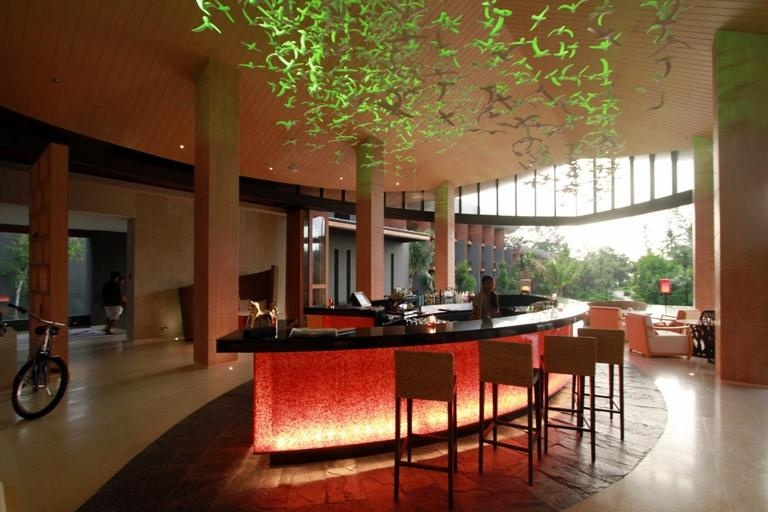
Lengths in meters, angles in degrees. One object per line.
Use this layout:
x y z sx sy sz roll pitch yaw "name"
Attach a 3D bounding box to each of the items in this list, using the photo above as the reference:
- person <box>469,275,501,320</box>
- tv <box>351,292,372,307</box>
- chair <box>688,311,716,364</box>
1.753 0.715 8.979 0.479 0.765 1.170 -2 -5 10 "person"
-0.417 0.841 9.689 0.274 0.246 0.385 -5 -6 24 "tv"
6.685 1.683 10.803 0.345 1.027 0.659 -2 -5 7 "chair"
